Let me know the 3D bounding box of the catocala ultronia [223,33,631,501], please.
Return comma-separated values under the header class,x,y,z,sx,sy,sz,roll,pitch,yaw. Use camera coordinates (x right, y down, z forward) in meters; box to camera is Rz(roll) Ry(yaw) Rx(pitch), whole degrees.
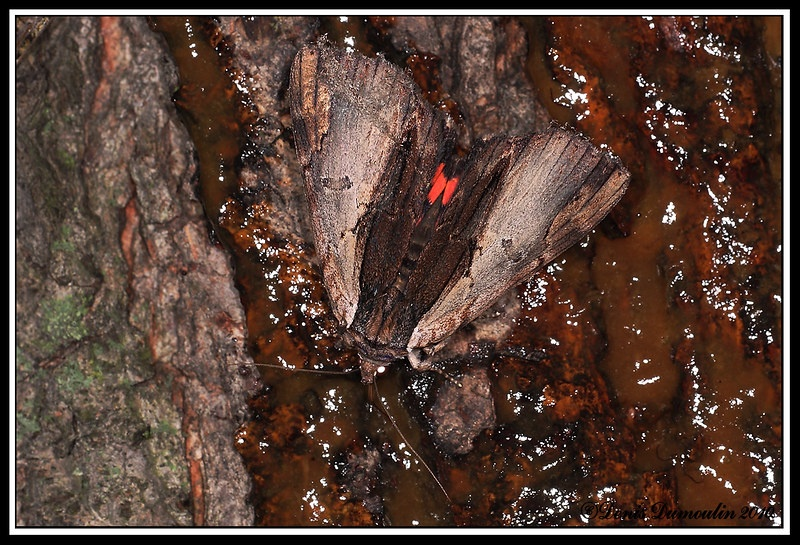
class,x,y,z,sx,sy,sz,roll,pitch,yaw
catocala ultronia,0.292,-0.116,10.728,4.341,3.324,2.167,5,37,0
